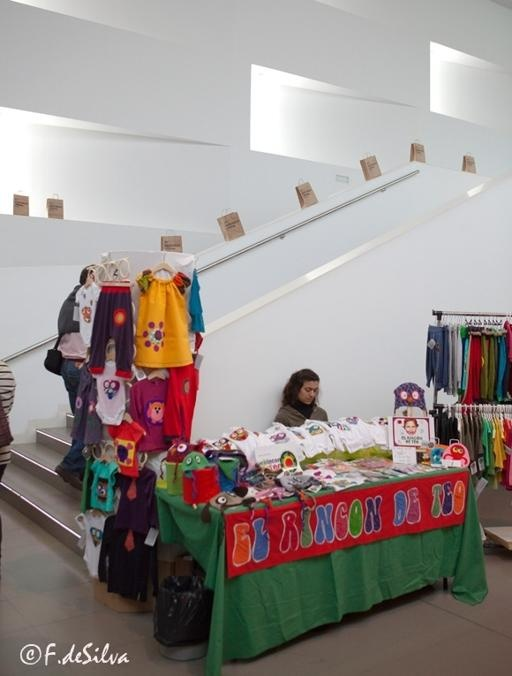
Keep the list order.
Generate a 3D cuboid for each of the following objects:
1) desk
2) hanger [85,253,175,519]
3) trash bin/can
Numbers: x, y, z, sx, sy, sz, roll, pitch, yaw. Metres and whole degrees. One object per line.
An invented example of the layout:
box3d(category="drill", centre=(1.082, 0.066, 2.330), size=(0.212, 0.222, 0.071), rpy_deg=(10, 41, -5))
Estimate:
box3d(category="desk", centre=(0.366, 1.045, 2.512), size=(1.708, 0.645, 0.745), rpy_deg=(6, -9, -33))
box3d(category="hanger", centre=(-0.721, 0.047, 2.476), size=(0.216, 0.951, 0.419), rpy_deg=(7, -10, -37))
box3d(category="trash bin/can", centre=(-0.307, 1.169, 2.051), size=(0.228, 0.231, 0.234), rpy_deg=(-3, -17, 17))
